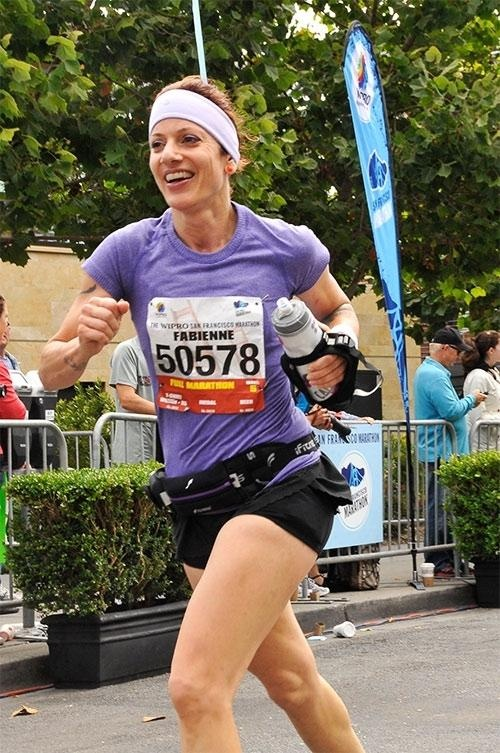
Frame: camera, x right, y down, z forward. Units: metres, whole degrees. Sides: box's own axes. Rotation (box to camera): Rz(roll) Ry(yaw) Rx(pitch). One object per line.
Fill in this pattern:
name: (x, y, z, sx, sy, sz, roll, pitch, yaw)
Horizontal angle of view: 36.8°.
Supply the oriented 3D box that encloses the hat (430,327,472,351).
hat: (2.181, -0.405, 8.089, 0.409, 0.208, 0.254, 5, 8, -29)
